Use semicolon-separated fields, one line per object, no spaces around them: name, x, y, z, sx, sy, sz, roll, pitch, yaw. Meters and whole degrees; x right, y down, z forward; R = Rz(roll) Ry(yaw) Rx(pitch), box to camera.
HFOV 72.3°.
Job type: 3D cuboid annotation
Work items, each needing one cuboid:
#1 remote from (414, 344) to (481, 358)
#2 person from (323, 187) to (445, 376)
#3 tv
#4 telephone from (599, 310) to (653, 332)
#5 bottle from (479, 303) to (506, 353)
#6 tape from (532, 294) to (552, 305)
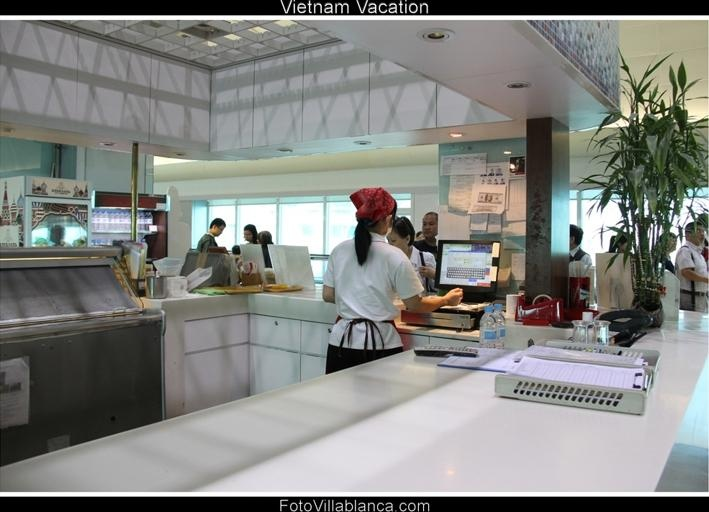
remote;0.470;0.475;2.527;0.364;0.071;0.106;-1;-2;17
person;0.176;0.169;3.082;0.753;1.175;0.388;1;7;-4
tv;0.869;0.113;3.749;0.491;0.478;0.250;1;-4;26
telephone;1.688;0.395;2.995;0.280;0.097;0.205;-9;-1;11
bottle;0.804;0.408;2.824;0.137;0.266;0.365;4;7;16
tape;1.314;0.313;3.391;0.125;0.064;0.300;4;7;21
